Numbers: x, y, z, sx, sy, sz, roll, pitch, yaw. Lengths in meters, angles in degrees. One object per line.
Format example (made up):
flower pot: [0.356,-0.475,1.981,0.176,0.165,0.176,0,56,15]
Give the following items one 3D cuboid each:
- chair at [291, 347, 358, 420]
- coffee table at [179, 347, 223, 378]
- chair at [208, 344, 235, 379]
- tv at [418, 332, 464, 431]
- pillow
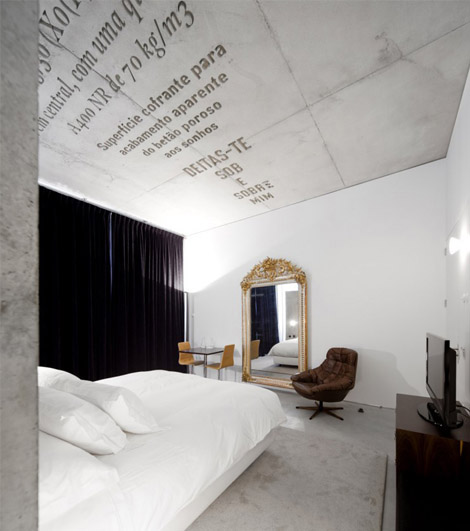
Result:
chair: [0.894,1.360,4.323,0.560,0.838,0.704,3,-2,2]
coffee table: [-0.532,1.361,5.747,0.491,0.619,0.517,-5,-8,38]
chair: [-0.281,1.481,5.573,0.310,0.686,0.295,8,2,34]
tv: [1.346,0.833,2.662,0.204,0.625,0.733,1,-4,19]
pillow: [-0.737,0.908,2.124,0.597,0.405,0.921,2,1,-29]
